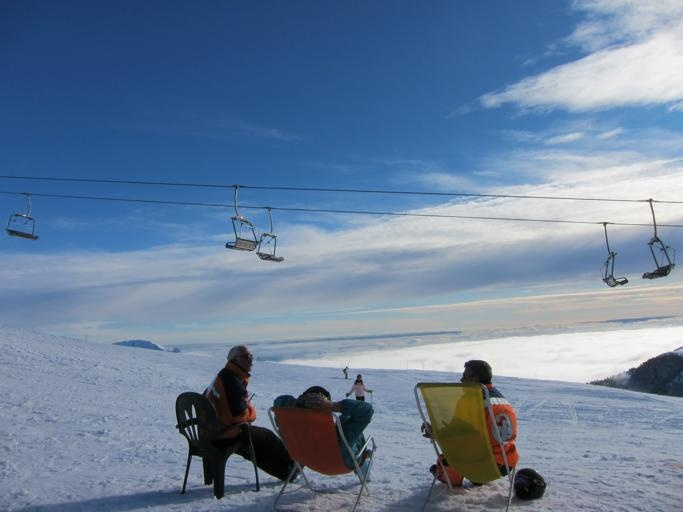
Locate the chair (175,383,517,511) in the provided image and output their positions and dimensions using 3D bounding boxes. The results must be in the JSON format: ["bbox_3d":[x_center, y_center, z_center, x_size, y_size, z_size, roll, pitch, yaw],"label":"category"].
[{"bbox_3d":[0.058,3.258,10.280,3.636,1.217,1.075,-1,-38,9],"label":"chair"}]

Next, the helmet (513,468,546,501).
[{"bbox_3d":[3.077,3.628,10.017,0.493,0.388,0.548,-2,-6,-18],"label":"helmet"}]
